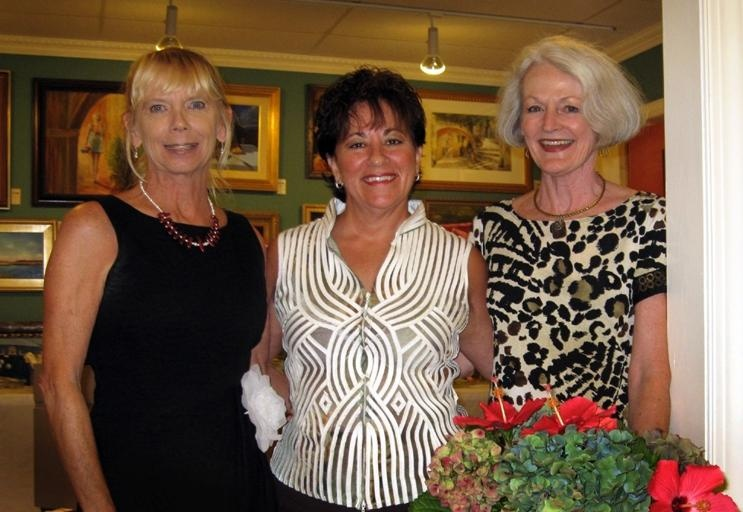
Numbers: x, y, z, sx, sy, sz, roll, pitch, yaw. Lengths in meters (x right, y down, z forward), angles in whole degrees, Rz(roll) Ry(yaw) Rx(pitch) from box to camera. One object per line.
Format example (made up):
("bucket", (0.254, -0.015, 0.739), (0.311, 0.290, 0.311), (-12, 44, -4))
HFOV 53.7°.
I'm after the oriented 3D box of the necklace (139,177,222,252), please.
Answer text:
("necklace", (-0.665, -0.168, 2.593), (0.053, 0.300, 0.218), (-42, -19, 34))
